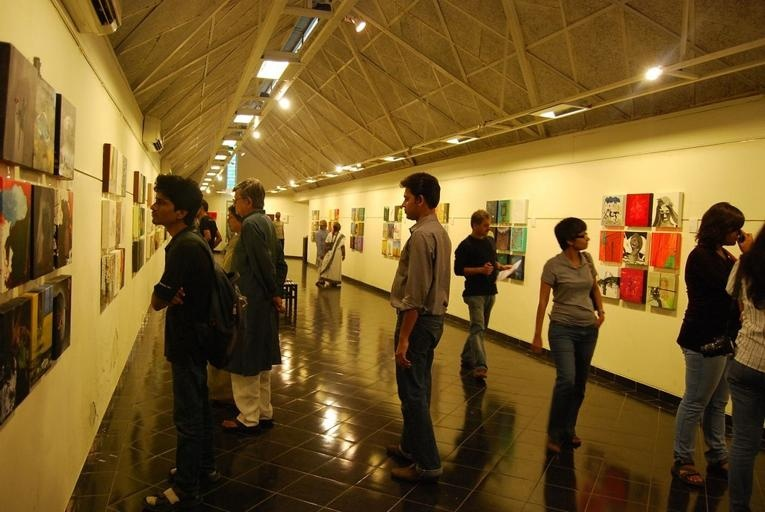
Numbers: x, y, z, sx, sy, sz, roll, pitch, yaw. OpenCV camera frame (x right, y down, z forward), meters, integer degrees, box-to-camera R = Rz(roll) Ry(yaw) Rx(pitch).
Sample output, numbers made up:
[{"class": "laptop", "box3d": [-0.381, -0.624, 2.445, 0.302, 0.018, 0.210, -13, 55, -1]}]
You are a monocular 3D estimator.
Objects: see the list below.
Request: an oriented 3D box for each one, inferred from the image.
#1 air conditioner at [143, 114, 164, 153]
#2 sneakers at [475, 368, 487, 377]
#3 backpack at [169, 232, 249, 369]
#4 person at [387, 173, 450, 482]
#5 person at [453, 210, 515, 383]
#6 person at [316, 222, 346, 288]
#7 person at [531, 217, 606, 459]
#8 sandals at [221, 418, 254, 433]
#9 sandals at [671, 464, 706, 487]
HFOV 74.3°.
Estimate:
[{"class": "air conditioner", "box3d": [-3.748, -2.026, 8.323, 0.213, 0.492, 0.567, 1, -8, -15]}, {"class": "sneakers", "box3d": [1.284, 1.528, 6.592, 0.104, 0.094, 0.124, 5, 8, -33]}, {"class": "backpack", "box3d": [-1.333, 0.330, 3.760, 0.550, 1.034, 0.325, 1, 3, -16]}, {"class": "person", "box3d": [0.312, 0.582, 4.235, 0.498, 2.570, 0.444, 3, 3, 6]}, {"class": "person", "box3d": [1.297, 0.494, 6.823, 0.622, 2.196, 0.649, 4, 4, 20]}, {"class": "person", "box3d": [-1.581, -0.024, 15.193, 0.853, 1.939, 0.883, 3, 4, 12]}, {"class": "person", "box3d": [1.760, 0.738, 4.836, 0.660, 2.204, 0.425, 1, 4, -29]}, {"class": "sandals", "box3d": [-1.371, 1.635, 4.904, 0.307, 0.132, 0.124, 14, -2, -3]}, {"class": "sandals", "box3d": [2.619, 1.885, 4.313, 0.115, 0.090, 0.223, -4, -8, 0]}]
